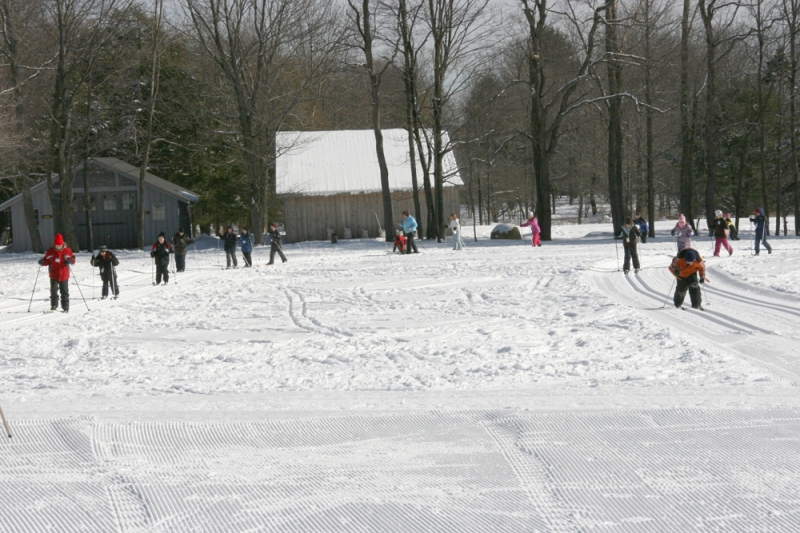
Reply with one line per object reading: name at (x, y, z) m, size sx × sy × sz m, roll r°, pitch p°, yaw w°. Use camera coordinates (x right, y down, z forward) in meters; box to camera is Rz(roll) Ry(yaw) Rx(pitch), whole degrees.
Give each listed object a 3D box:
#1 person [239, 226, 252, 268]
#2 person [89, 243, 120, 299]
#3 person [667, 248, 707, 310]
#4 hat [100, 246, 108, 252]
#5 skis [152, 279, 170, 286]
person at (-6.738, -0.797, 44.217) m, size 0.458 × 1.247 × 0.899 m, roll -4°, pitch 2°, yaw -13°
person at (-10.452, 0.202, 35.801) m, size 0.867 × 1.525 × 1.969 m, roll -4°, pitch 2°, yaw -17°
person at (8.744, 0.389, 30.646) m, size 0.937 × 1.770 × 1.255 m, roll -3°, pitch 2°, yaw 21°
hat at (-10.407, -0.592, 35.422) m, size 0.190 × 0.130 × 0.223 m, roll 16°, pitch -10°, yaw -11°
skis at (-9.058, 0.699, 38.179) m, size 0.654 × 0.306 × 0.208 m, roll -16°, pitch -6°, yaw 34°
